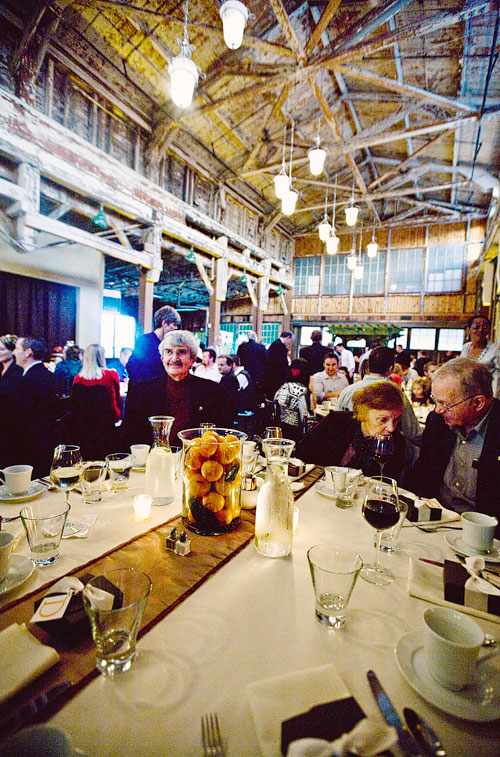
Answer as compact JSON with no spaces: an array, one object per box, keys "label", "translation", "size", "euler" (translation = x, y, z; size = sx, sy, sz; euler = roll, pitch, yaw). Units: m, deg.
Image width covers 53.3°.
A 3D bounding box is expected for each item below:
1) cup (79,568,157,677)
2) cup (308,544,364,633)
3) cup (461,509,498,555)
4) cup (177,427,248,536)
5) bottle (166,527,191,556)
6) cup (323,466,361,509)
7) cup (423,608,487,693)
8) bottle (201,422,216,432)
[{"label":"cup","translation":[-0.241,0.445,0.922],"size":[0.139,0.147,0.134],"euler":[-2,-17,-1]},{"label":"cup","translation":[0.158,0.448,1.062],"size":[0.131,0.145,0.133],"euler":[3,-19,1]},{"label":"cup","translation":[0.618,0.427,1.355],"size":[0.098,0.078,0.082],"euler":[10,-7,-27]},{"label":"cup","translation":[-0.101,0.275,1.439],"size":[0.249,0.345,0.247],"euler":[1,5,0]},{"label":"bottle","translation":[-0.184,0.423,1.285],"size":[0.055,0.063,0.026],"euler":[3,7,24]},{"label":"cup","translation":[0.327,0.386,1.740],"size":[0.087,0.094,0.130],"euler":[5,-6,-26]},{"label":"cup","translation":[0.361,0.481,0.910],"size":[0.105,0.099,0.115],"euler":[4,2,0]},{"label":"bottle","translation":[-0.146,0.174,1.782],"size":[0.053,0.059,0.054],"euler":[0,2,0]}]
